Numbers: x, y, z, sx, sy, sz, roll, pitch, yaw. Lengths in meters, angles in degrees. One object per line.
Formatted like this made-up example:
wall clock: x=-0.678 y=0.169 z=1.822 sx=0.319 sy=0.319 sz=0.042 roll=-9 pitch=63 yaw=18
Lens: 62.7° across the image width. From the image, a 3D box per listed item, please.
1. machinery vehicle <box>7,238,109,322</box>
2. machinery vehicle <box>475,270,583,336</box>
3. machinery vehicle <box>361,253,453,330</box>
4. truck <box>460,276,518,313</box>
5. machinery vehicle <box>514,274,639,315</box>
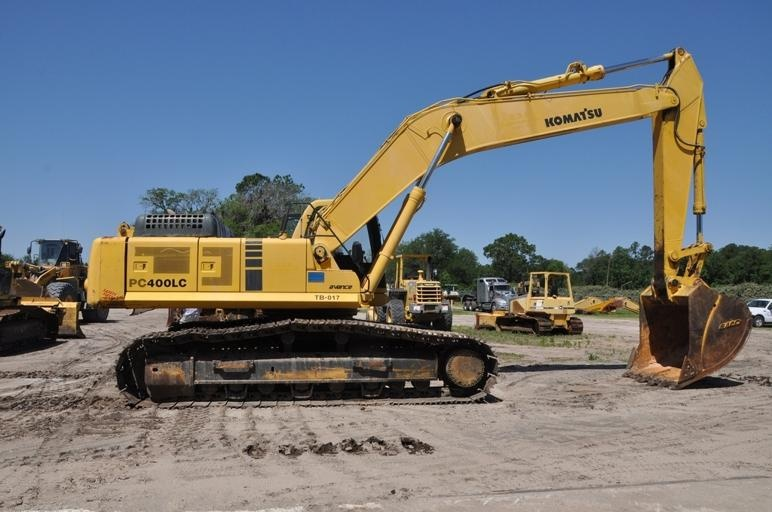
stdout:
machinery vehicle: x=-14.039 y=0.985 z=26.394 sx=2.906 sy=3.276 sz=5.486 roll=2 pitch=-2 yaw=-5
machinery vehicle: x=5.525 y=1.678 z=23.782 sx=2.097 sy=1.869 sz=3.140 roll=2 pitch=-1 yaw=-28
machinery vehicle: x=1.105 y=1.213 z=21.506 sx=2.239 sy=2.577 sz=4.159 roll=2 pitch=-4 yaw=-8
truck: x=6.394 y=2.252 z=37.742 sx=1.630 sy=1.669 sz=4.603 roll=2 pitch=-9 yaw=-15
machinery vehicle: x=13.028 y=2.314 z=41.309 sx=8.768 sy=2.988 sz=2.934 roll=-1 pitch=-3 yaw=-5
